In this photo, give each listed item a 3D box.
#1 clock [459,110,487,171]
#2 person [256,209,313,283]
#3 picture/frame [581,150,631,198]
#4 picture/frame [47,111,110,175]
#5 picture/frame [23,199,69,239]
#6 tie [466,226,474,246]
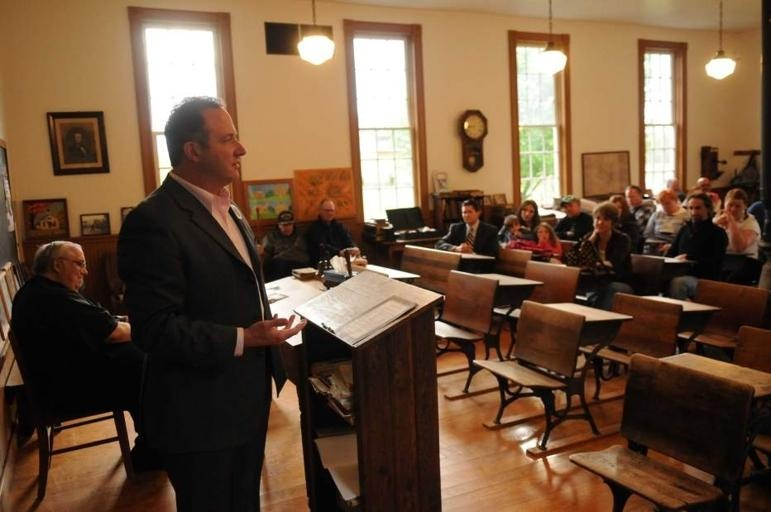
[{"bbox_3d":[1.464,-1.920,9.609,0.549,1.019,0.162,-11,12,-32],"label":"clock"},{"bbox_3d":[-1.424,0.076,8.225,0.813,1.425,0.452,2,-25,-25],"label":"person"},{"bbox_3d":[3.963,-1.508,10.480,1.273,1.023,0.088,-4,1,-29],"label":"picture/frame"},{"bbox_3d":[-4.130,-1.530,7.670,0.794,1.021,0.081,-8,8,-26],"label":"picture/frame"},{"bbox_3d":[-4.487,-0.498,7.566,0.538,0.597,0.048,-1,6,-30],"label":"picture/frame"},{"bbox_3d":[1.117,-0.286,7.517,0.048,0.194,0.121,10,-12,-37],"label":"tie"}]
